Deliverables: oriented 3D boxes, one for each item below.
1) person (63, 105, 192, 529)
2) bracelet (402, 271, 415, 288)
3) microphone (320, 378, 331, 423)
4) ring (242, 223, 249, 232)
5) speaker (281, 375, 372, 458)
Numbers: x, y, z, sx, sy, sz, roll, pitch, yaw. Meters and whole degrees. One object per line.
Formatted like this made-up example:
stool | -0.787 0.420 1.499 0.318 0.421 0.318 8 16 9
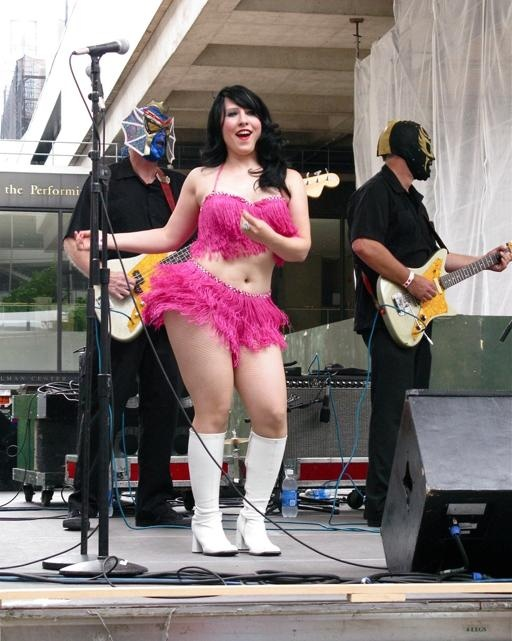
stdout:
person | -0.466 -0.027 5.250 0.733 1.696 0.490 1 -7 -15
bracelet | 0.569 -0.162 5.014 0.024 0.060 0.044 25 1 -4
microphone | 0.315 0.382 6.194 0.050 0.197 0.164 2 3 5
ring | -0.039 -0.290 4.046 0.023 0.025 0.013 7 -3 17
speaker | 0.307 0.442 6.379 0.477 0.357 0.357 -3 5 -13
